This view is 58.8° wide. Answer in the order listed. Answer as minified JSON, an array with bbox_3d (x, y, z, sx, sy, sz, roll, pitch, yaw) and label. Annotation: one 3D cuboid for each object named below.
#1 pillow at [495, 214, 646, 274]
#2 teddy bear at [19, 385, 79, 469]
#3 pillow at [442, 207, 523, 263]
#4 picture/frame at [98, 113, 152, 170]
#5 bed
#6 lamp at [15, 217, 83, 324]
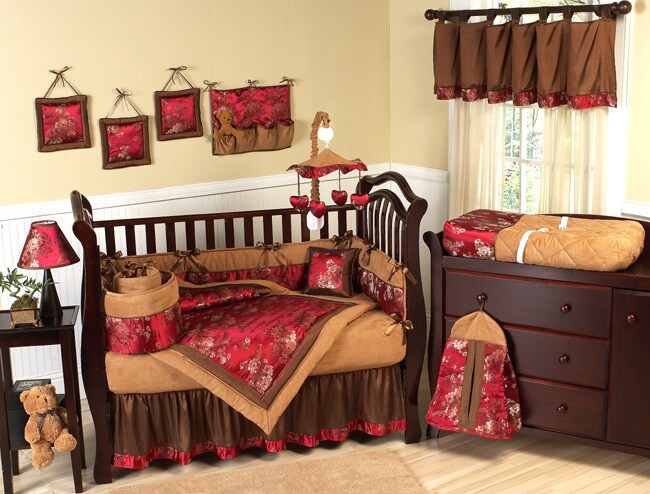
[{"bbox_3d":[1.239,-0.031,2.907,0.652,0.194,0.520,2,14,28],"label":"pillow"},{"bbox_3d":[-1.352,0.851,2.803,0.241,0.347,0.279,2,16,-1],"label":"teddy bear"},{"bbox_3d":[0.772,-0.065,2.934,0.283,0.098,0.302,0,26,29],"label":"pillow"},{"bbox_3d":[-1.263,-0.672,3.591,0.311,0.345,0.027,-6,11,-32],"label":"picture/frame"},{"bbox_3d":[-0.432,0.473,3.135,1.346,1.160,0.771,-6,15,-19],"label":"bed"},{"bbox_3d":[-1.379,0.121,2.869,0.273,0.494,0.261,-3,11,-41],"label":"lamp"}]
